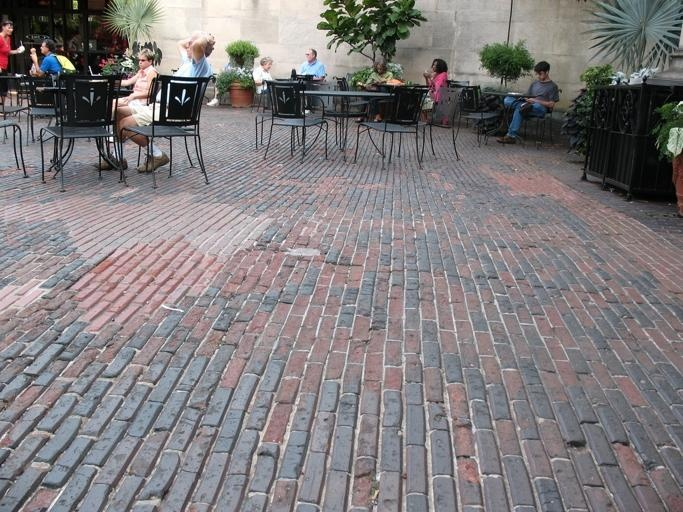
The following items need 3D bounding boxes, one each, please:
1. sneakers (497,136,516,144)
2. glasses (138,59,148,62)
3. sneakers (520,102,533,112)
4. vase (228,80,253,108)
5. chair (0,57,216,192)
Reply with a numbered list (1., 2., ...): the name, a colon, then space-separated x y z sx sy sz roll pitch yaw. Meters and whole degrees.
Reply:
1. sneakers: 4.063 -2.843 11.583 0.493 0.201 0.186 2 13 -6
2. glasses: -3.156 -3.100 7.475 0.068 0.044 0.085 6 13 19
3. sneakers: 4.348 -3.477 11.014 0.241 0.221 0.226 2 -26 1
4. vase: -3.555 -5.679 16.595 0.818 0.588 0.796 -3 25 -12
5. chair: -2.852 -1.733 6.345 2.063 1.340 1.622 -3 19 -15
